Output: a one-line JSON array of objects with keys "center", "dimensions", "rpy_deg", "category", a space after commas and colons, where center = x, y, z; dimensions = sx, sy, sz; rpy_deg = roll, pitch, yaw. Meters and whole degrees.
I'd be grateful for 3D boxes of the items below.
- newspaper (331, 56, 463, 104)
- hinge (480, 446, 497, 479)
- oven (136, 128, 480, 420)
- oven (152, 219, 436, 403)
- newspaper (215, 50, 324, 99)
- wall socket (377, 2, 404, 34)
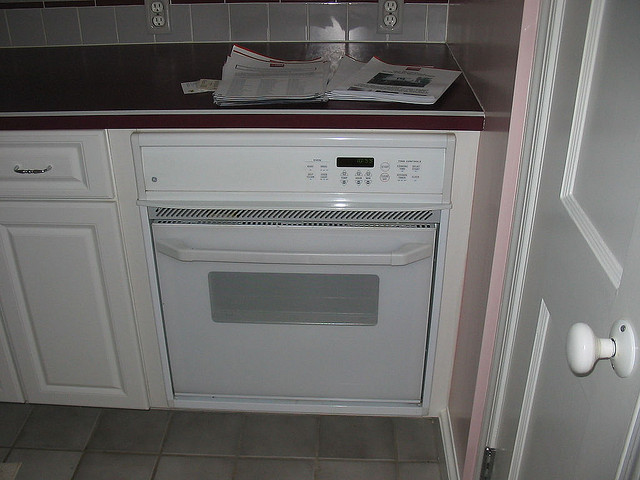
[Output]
[{"center": [0.227, -0.457, 1.328], "dimensions": [0.313, 0.087, 0.368], "rpy_deg": [5, 27, 15], "category": "newspaper"}, {"center": [0.401, 0.534, 1.134], "dimensions": [0.027, 0.098, 0.018], "rpy_deg": [6, 29, 17], "category": "hinge"}, {"center": [-0.067, 0.067, 1.527], "dimensions": [0.858, 0.807, 0.550], "rpy_deg": [2, 15, 0], "category": "oven"}, {"center": [-0.070, 0.168, 1.551], "dimensions": [0.836, 0.561, 0.575], "rpy_deg": [0, 15, -2], "category": "oven"}, {"center": [-0.146, -0.463, 1.337], "dimensions": [0.237, 0.059, 0.216], "rpy_deg": [3, 41, 0], "category": "newspaper"}, {"center": [0.245, -0.781, 1.651], "dimensions": [0.074, 0.095, 0.025], "rpy_deg": [2, 13, 2], "category": "wall socket"}]
